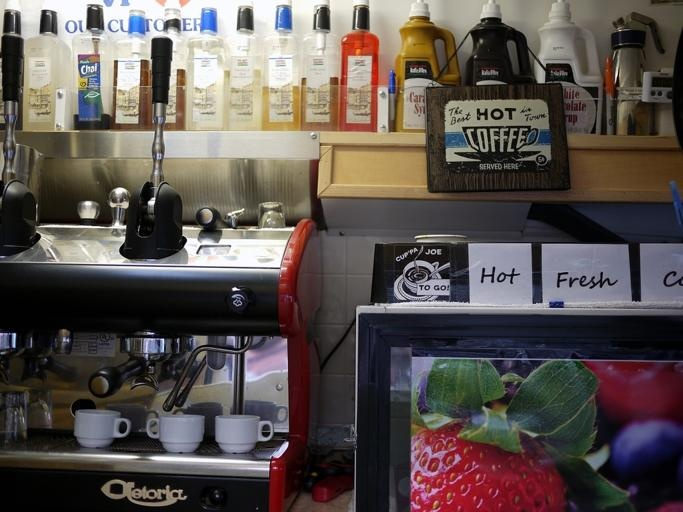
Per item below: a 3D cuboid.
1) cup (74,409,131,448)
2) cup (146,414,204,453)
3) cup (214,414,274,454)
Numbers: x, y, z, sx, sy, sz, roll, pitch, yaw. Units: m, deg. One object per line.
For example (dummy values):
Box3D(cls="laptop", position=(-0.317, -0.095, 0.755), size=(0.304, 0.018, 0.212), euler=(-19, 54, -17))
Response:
Box3D(cls="cup", position=(-0.518, 0.375, 1.400), size=(0.111, 0.071, 0.074), euler=(4, -9, -8))
Box3D(cls="cup", position=(-0.360, 0.373, 1.419), size=(0.105, 0.066, 0.082), euler=(1, -3, 3))
Box3D(cls="cup", position=(-0.207, 0.389, 1.400), size=(0.106, 0.065, 0.072), euler=(1, -7, -6))
